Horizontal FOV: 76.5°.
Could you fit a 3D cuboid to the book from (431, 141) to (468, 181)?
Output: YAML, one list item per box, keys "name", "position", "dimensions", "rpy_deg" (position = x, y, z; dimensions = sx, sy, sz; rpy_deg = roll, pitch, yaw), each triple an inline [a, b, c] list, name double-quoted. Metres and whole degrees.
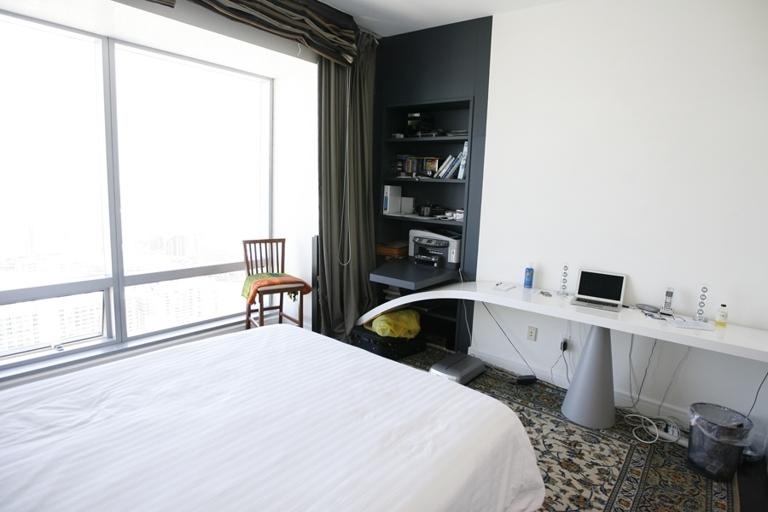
- name: "book"
  position: [0.633, -0.933, 4.752]
  dimensions: [0.199, 0.364, 0.440]
  rpy_deg: [-5, 13, -26]

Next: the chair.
- name: "chair"
  position: [-1.099, 0.314, 4.793]
  dimensions: [0.620, 0.892, 0.682]
  rpy_deg: [-6, 11, -45]

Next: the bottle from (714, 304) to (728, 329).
- name: "bottle"
  position: [2.498, 0.448, 3.619]
  dimensions: [0.071, 0.151, 0.134]
  rpy_deg: [10, 14, 36]

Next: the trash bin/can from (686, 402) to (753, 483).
- name: "trash bin/can"
  position: [2.360, 1.282, 3.610]
  dimensions: [0.499, 0.492, 0.459]
  rpy_deg: [-7, 7, -36]

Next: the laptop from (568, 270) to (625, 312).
- name: "laptop"
  position: [1.762, 0.270, 3.998]
  dimensions: [0.367, 0.247, 0.333]
  rpy_deg: [11, 25, 31]

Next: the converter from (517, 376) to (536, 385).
- name: "converter"
  position: [1.260, 1.098, 4.329]
  dimensions: [0.138, 0.031, 0.080]
  rpy_deg: [-5, 16, -3]
